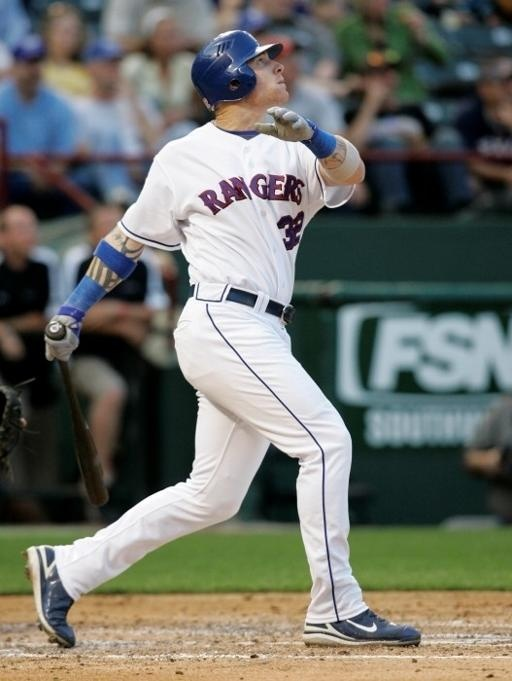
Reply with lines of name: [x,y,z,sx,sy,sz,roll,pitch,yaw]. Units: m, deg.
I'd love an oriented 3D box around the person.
person: [-0.142,0.144,3.073,1.109,2.006,0.921,-5,23,-4]

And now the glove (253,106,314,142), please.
glove: [0.089,-0.579,2.831,0.152,0.106,0.197,-1,19,3]

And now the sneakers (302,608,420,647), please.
sneakers: [0.312,0.821,2.994,0.368,0.126,0.116,0,-6,-1]

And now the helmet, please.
helmet: [-0.014,-0.794,3.071,0.311,0.195,0.206,-5,9,29]

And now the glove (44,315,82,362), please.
glove: [-0.565,-0.005,3.085,0.116,0.125,0.055,6,-8,24]
